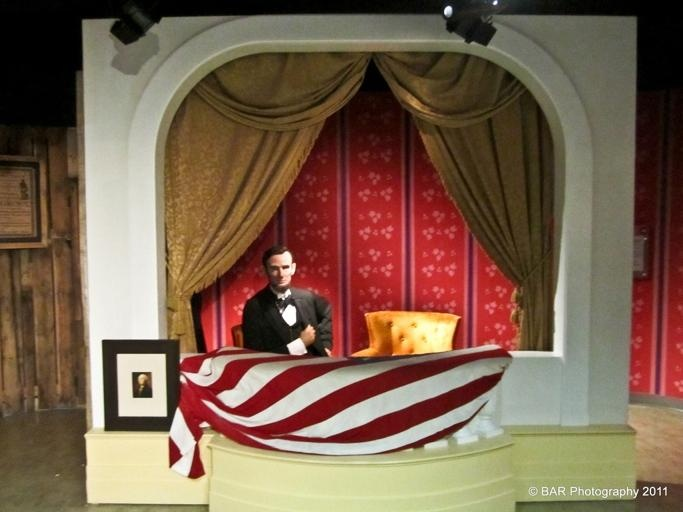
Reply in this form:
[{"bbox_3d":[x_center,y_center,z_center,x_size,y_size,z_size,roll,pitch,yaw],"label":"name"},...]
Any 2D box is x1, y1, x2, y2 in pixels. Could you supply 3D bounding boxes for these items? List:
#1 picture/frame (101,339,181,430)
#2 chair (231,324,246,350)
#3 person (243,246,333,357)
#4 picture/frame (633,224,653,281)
[{"bbox_3d":[-1.360,0.871,4.203,0.545,0.716,0.029,0,1,0],"label":"picture/frame"},{"bbox_3d":[-0.841,0.663,5.055,0.134,0.193,0.159,-1,-13,-1],"label":"chair"},{"bbox_3d":[-0.439,0.362,4.847,0.709,0.866,0.382,-2,-7,-3],"label":"person"},{"bbox_3d":[2.746,-0.033,5.627,0.153,0.471,0.091,-2,-7,-4],"label":"picture/frame"}]
